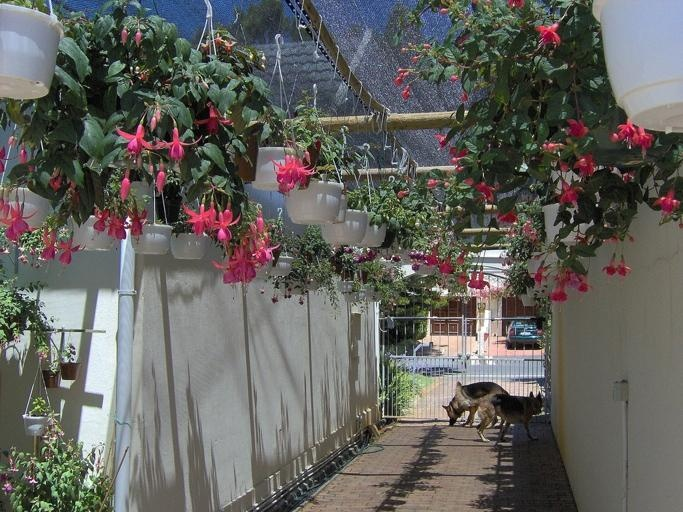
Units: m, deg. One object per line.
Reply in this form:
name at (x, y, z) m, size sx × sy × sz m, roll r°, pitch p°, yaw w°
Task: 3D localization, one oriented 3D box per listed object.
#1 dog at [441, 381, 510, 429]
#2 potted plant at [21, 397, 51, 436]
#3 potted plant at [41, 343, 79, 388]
dog at (2.456, 2.733, 11.760) m, size 1.190 × 0.935 × 0.398 m, roll -11°, pitch -5°, yaw 20°
potted plant at (-1.990, 1.049, 4.237) m, size 0.169 × 0.255 × 0.164 m, roll -6°, pitch 33°, yaw -48°
potted plant at (-1.921, 0.753, 4.482) m, size 0.282 × 0.355 × 0.225 m, roll 3°, pitch -10°, yaw -11°
